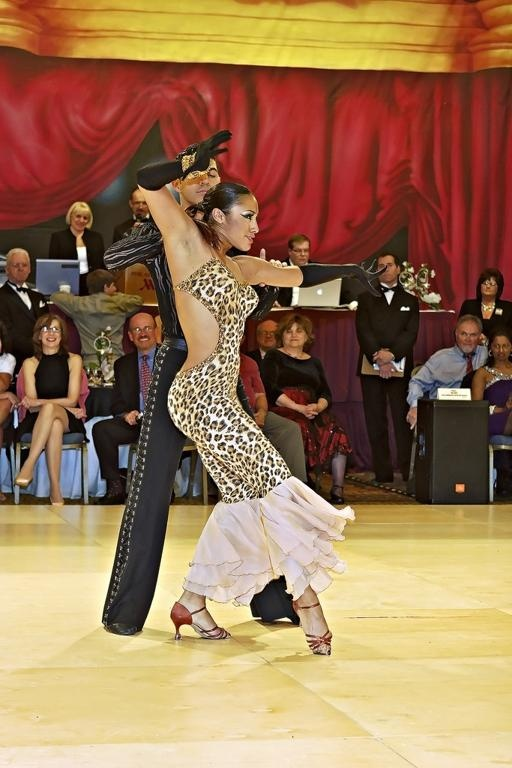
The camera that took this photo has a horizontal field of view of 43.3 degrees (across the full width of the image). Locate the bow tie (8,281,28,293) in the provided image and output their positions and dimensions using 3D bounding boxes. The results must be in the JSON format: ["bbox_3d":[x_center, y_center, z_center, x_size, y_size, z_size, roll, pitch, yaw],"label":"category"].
[{"bbox_3d":[-2.419,-0.985,6.523,0.122,0.057,0.153,1,25,-45],"label":"bow tie"}]

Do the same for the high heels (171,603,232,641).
[{"bbox_3d":[-0.186,0.762,2.097,0.246,0.130,0.086,6,-8,-34],"label":"high heels"}]

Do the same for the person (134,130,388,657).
[{"bbox_3d":[-0.049,0.135,1.981,0.676,1.339,0.422,4,-6,-10],"label":"person"}]

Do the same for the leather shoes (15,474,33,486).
[{"bbox_3d":[-1.967,0.828,5.441,0.109,0.106,0.219,3,-6,-9],"label":"leather shoes"}]

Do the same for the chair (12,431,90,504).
[{"bbox_3d":[-1.815,0.674,5.974,0.695,0.717,0.794,0,-1,-4],"label":"chair"}]
